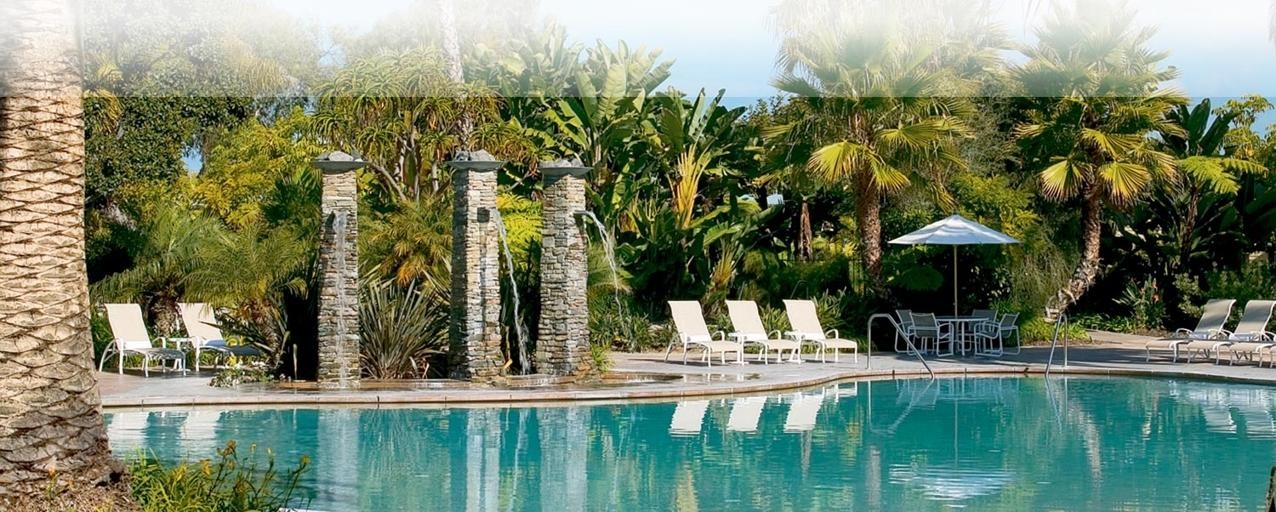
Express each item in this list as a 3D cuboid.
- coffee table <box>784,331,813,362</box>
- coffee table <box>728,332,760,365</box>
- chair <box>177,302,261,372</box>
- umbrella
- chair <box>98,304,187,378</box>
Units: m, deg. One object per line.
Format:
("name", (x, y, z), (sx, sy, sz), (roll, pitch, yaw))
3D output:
("coffee table", (5.576, 3.055, 40.728), (1.104, 1.203, 1.048), (1, -6, -18))
("coffee table", (3.483, 3.049, 40.149), (1.226, 0.992, 1.077), (2, -4, -39))
("chair", (-13.666, 2.581, 38.793), (1.636, 2.118, 4.267), (1, -3, -35))
("umbrella", (11.109, 0.586, 41.815), (4.262, 3.326, 4.333), (4, -4, -39))
("chair", (-16.153, 2.660, 38.567), (2.216, 2.279, 3.339), (1, -3, -44))
